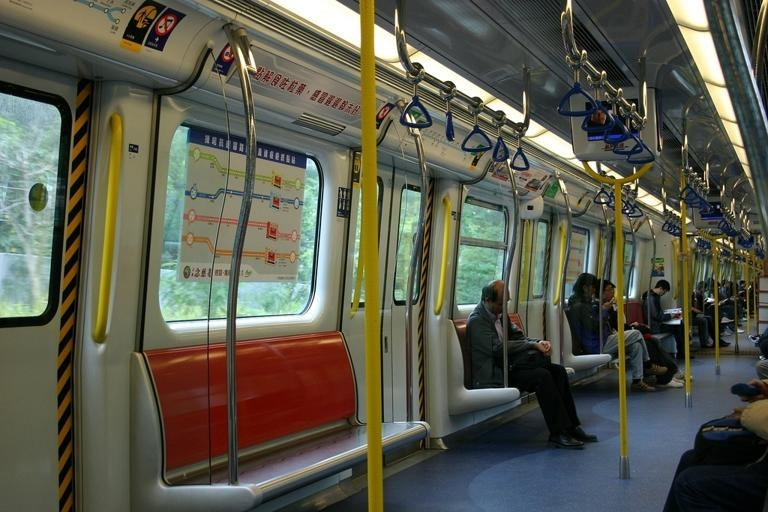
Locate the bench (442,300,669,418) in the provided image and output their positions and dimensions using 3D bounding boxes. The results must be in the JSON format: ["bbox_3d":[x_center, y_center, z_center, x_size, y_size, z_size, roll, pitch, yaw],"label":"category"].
[{"bbox_3d":[2.031,1.137,7.266,0.659,0.904,3.713,1,0,38],"label":"bench"}]

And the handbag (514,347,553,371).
[{"bbox_3d":[1.674,1.159,6.404,0.318,0.156,0.429,0,0,15],"label":"handbag"}]

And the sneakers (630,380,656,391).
[{"bbox_3d":[4.263,2.091,9.169,0.476,0.211,0.164,-1,-2,8],"label":"sneakers"}]

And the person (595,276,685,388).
[{"bbox_3d":[4.383,1.344,9.678,1.008,1.309,1.921,-4,-13,30],"label":"person"}]

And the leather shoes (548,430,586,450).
[{"bbox_3d":[2.000,2.013,6.196,0.360,0.166,0.145,-6,-8,34],"label":"leather shoes"}]

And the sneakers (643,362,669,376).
[{"bbox_3d":[4.481,1.868,9.314,0.402,0.162,0.150,0,8,7],"label":"sneakers"}]

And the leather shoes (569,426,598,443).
[{"bbox_3d":[2.318,2.032,6.470,0.403,0.184,0.150,1,-5,2],"label":"leather shoes"}]
